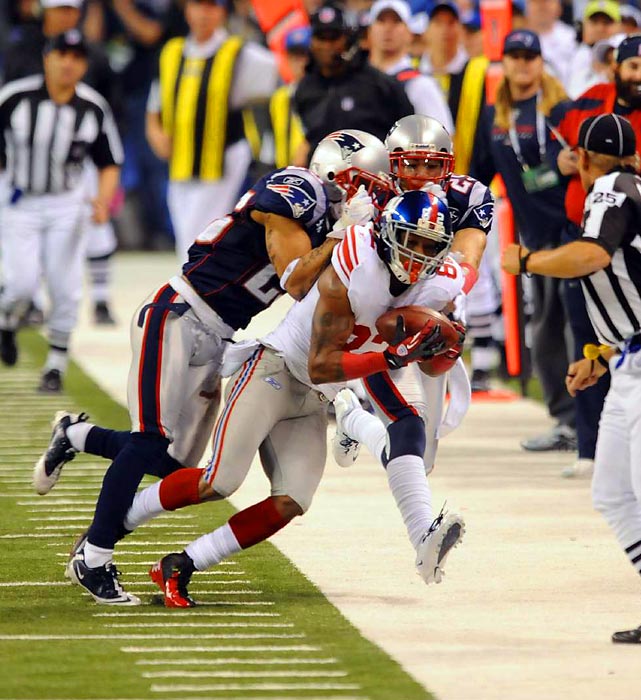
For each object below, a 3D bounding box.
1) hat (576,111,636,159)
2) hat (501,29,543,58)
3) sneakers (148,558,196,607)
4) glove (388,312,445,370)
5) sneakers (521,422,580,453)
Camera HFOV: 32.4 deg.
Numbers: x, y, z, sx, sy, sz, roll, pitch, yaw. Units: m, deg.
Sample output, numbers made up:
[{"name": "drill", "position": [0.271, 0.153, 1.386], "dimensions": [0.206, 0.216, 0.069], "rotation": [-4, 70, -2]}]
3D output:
[{"name": "hat", "position": [0.755, -0.564, 2.905], "dimensions": [0.155, 0.114, 0.109], "rotation": [6, 11, 18]}, {"name": "hat", "position": [1.042, -1.561, 5.601], "dimensions": [0.191, 0.152, 0.180], "rotation": [0, 10, -14]}, {"name": "sneakers", "position": [-0.421, 0.658, 3.113], "dimensions": [0.145, 0.112, 0.053], "rotation": [54, 19, 8]}, {"name": "glove", "position": [0.236, -0.019, 2.724], "dimensions": [0.142, 0.127, 0.093], "rotation": [4, 11, 8]}, {"name": "sneakers", "position": [1.180, 0.443, 5.665], "dimensions": [0.269, 0.138, 0.149], "rotation": [2, 10, -3]}]
